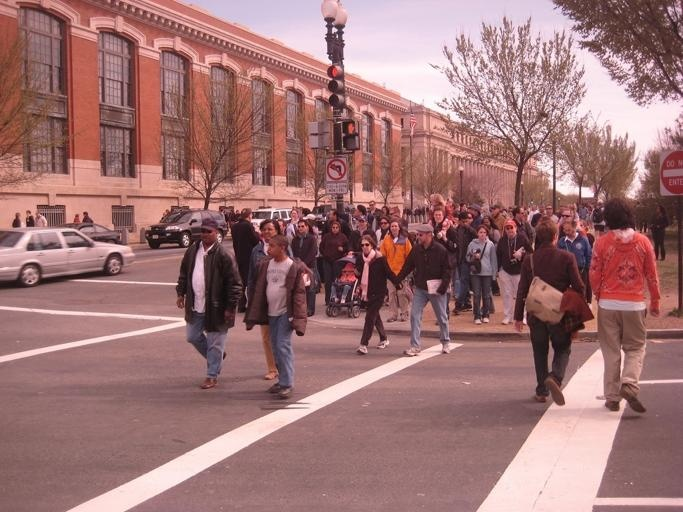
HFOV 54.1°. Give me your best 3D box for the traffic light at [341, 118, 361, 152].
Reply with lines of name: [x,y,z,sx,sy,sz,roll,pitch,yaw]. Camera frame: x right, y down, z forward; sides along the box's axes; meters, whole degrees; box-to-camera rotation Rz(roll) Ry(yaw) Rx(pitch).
traffic light: [0.215,-2.930,16.144,0.367,0.793,0.793,1,3,2]

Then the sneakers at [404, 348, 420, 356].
sneakers: [1.190,1.603,11.143,0.102,0.125,0.287,-4,-12,20]

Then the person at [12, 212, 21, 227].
person: [-16.751,-1.903,34.558,0.371,0.719,2.851,-1,4,-28]

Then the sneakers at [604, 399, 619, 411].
sneakers: [3.094,1.703,7.622,0.075,0.091,0.205,-1,3,9]

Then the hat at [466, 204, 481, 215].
hat: [3.283,-1.159,16.513,0.342,0.129,0.326,11,-4,-24]

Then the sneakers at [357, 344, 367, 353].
sneakers: [0.356,1.576,11.325,0.112,0.137,0.322,-1,-9,10]

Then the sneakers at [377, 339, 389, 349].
sneakers: [0.753,1.580,11.989,0.091,0.114,0.258,-5,-3,22]

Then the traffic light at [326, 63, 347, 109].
traffic light: [-0.119,-4.113,16.091,0.394,1.146,0.709,0,3,-1]

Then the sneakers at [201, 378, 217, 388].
sneakers: [-1.802,1.751,9.165,0.083,0.106,0.260,-4,-11,14]

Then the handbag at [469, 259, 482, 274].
handbag: [2.812,0.223,13.964,0.167,0.307,0.230,-3,11,-44]

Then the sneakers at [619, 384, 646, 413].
sneakers: [3.252,1.610,7.500,0.097,0.279,0.197,-40,-6,26]
